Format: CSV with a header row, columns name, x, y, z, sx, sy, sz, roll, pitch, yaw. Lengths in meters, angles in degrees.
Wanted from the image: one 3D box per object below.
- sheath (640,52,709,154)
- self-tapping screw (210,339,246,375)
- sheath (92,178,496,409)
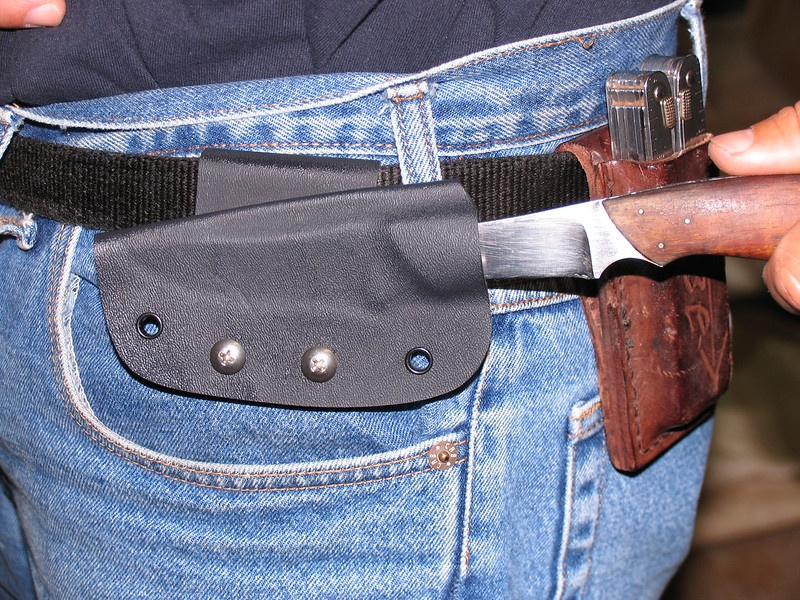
name,x,y,z,sx,sy,sz,roll,pitch,yaw
sheath,0.370,-0.268,1.101,0.074,0.113,0.083,-12,24,2
self-tapping screw,-0.189,0.062,0.897,0.037,0.037,0.008,-25,-5,-3
sheath,-0.113,0.009,0.894,0.419,0.233,0.049,-8,-5,-2
